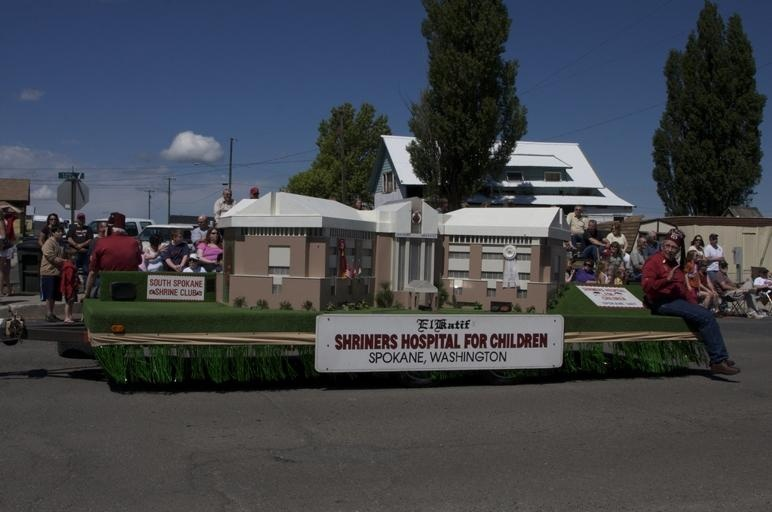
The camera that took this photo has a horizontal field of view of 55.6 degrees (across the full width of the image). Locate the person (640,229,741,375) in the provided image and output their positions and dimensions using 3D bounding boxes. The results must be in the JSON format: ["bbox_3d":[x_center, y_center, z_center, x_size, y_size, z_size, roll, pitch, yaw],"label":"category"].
[{"bbox_3d":[5.104,0.730,12.368,1.059,2.408,1.487,1,-7,-34],"label":"person"}]

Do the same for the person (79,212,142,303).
[{"bbox_3d":[-4.951,0.155,13.447,1.039,1.909,0.905,-1,10,-34],"label":"person"}]

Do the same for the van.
[{"bbox_3d":[-6.409,-0.421,17.756,2.494,1.377,1.453,3,-3,-14],"label":"van"}]

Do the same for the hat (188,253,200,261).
[{"bbox_3d":[-4.016,0.001,15.488,0.206,0.106,0.253,10,14,42],"label":"hat"}]
